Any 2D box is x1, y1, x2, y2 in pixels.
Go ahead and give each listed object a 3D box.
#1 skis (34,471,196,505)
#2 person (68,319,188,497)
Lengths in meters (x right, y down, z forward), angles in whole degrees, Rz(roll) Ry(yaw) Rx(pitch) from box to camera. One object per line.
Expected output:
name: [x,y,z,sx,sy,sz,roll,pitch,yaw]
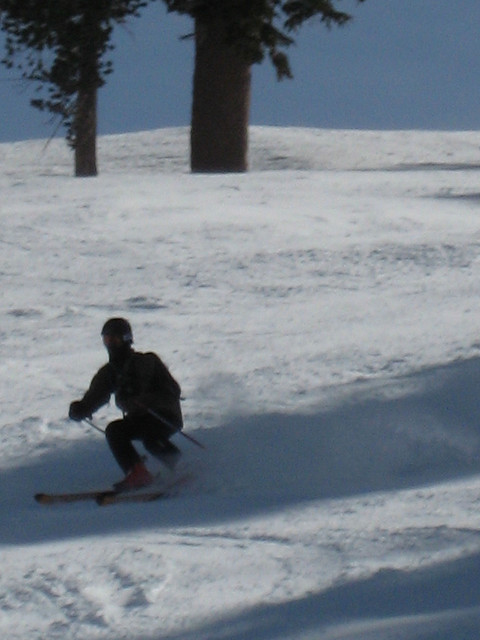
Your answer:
skis: [-0.915,1.276,8.595,1.786,0.135,0.190,-3,-5,-16]
person: [-0.792,0.611,8.668,0.713,1.209,0.721,8,12,34]
